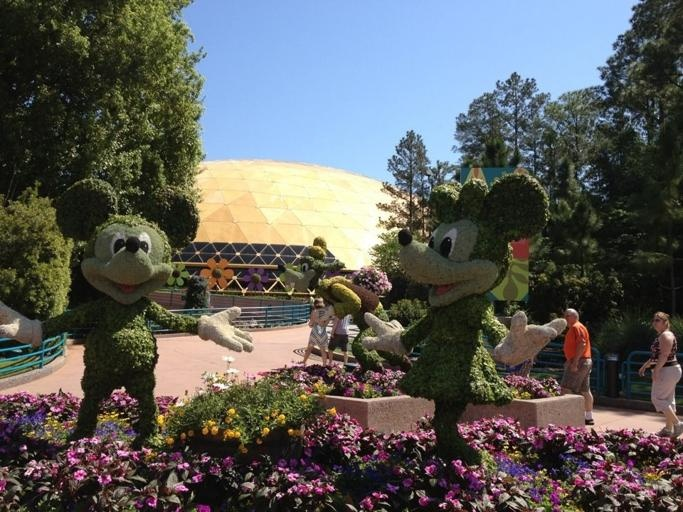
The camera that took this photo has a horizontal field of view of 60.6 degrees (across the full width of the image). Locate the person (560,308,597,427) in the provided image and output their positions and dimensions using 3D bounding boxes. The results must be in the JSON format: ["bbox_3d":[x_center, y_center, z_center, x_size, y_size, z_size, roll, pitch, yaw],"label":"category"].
[{"bbox_3d":[3.952,1.820,9.750,0.620,1.986,1.484,6,1,23],"label":"person"}]
